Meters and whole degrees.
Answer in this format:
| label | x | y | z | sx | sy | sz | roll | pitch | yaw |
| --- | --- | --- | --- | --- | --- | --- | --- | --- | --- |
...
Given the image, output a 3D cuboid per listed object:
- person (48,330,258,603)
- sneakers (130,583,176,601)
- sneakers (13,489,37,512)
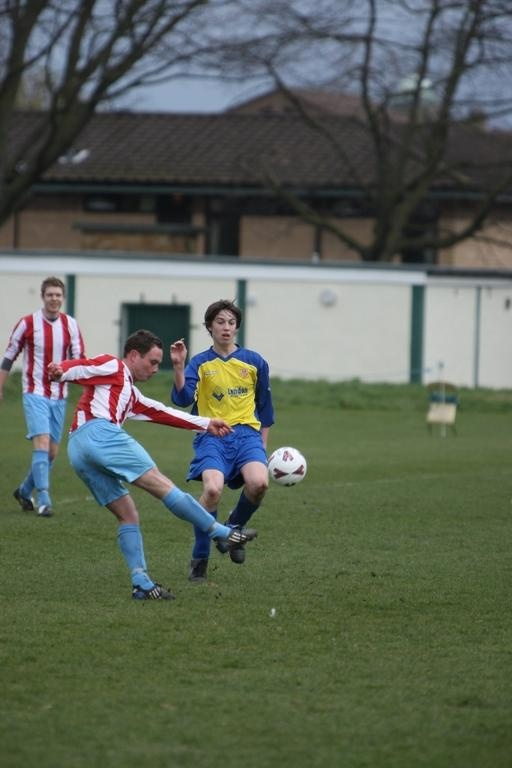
| label | x | y | z | sx | sy | sz | roll | pitch | yaw |
| --- | --- | --- | --- | --- | --- | --- | --- | --- | --- |
| person | -0.470 | 0.350 | 5.867 | 0.759 | 1.115 | 0.352 | -1 | 15 | -9 |
| sneakers | -0.437 | 0.860 | 5.892 | 0.180 | 0.078 | 0.069 | -2 | 6 | -5 |
| sneakers | -1.289 | 0.646 | 7.786 | 0.056 | 0.126 | 0.043 | -33 | -12 | 27 |
